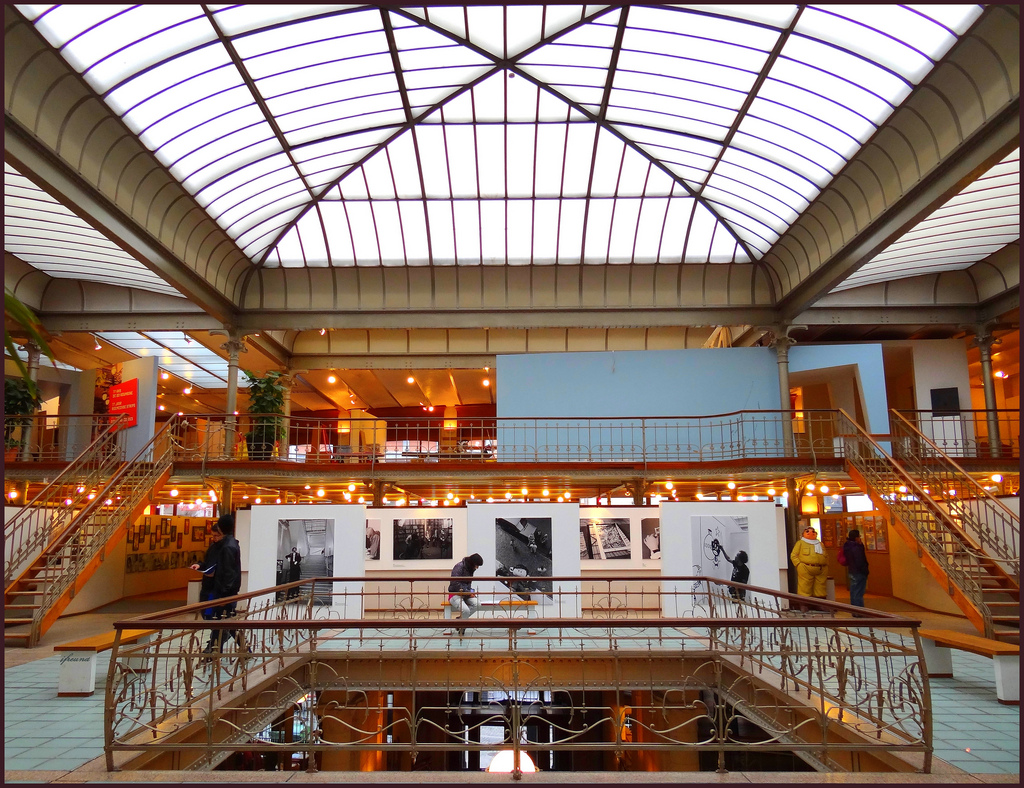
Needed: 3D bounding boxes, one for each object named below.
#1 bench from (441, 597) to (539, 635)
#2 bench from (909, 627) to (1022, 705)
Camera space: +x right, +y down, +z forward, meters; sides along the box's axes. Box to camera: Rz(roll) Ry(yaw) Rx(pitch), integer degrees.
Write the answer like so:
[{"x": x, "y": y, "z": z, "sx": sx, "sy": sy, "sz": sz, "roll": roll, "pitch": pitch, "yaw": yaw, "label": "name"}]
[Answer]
[{"x": -0.532, "y": 4.761, "z": 15.312, "sx": 1.846, "sy": 0.859, "sz": 3.068, "roll": 0, "pitch": -10, "yaw": -6, "label": "bench"}, {"x": 7.585, "y": 4.474, "z": 11.677, "sx": 0.723, "sy": 0.944, "sz": 1.860, "roll": 1, "pitch": -10, "yaw": -10, "label": "bench"}]
